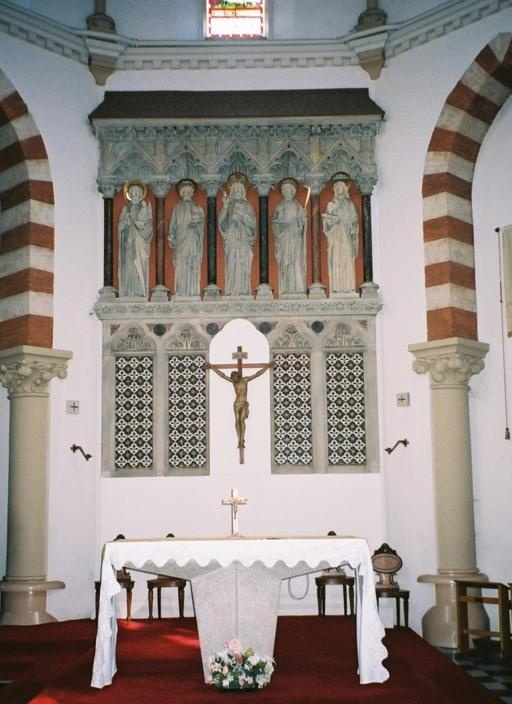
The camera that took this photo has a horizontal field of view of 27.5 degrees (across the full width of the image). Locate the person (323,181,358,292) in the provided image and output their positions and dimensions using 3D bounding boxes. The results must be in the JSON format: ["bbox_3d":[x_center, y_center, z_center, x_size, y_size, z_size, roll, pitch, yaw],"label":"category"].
[{"bbox_3d":[0.955,-1.265,11.725,0.402,1.307,0.192,-1,-7,-1],"label":"person"}]

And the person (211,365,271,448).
[{"bbox_3d":[-0.173,0.580,11.347,0.660,0.924,0.204,-1,-7,-1],"label":"person"}]

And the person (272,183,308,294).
[{"bbox_3d":[0.381,-1.261,11.768,0.388,1.316,0.203,-1,-7,1],"label":"person"}]

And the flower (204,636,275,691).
[{"bbox_3d":[-0.112,2.163,7.378,0.432,0.324,0.446,-10,-17,44],"label":"flower"}]

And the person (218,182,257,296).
[{"bbox_3d":[-0.201,-1.273,11.762,0.417,1.337,0.162,-1,-7,0],"label":"person"}]

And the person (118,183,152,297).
[{"bbox_3d":[-1.358,-1.230,11.810,0.390,1.295,0.195,0,-7,-8],"label":"person"}]

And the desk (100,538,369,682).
[{"bbox_3d":[-0.158,1.892,7.818,2.068,1.035,0.954,-1,-3,1],"label":"desk"}]

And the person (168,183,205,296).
[{"bbox_3d":[-0.783,-1.254,11.793,0.405,1.327,0.194,-1,-7,-2],"label":"person"}]
